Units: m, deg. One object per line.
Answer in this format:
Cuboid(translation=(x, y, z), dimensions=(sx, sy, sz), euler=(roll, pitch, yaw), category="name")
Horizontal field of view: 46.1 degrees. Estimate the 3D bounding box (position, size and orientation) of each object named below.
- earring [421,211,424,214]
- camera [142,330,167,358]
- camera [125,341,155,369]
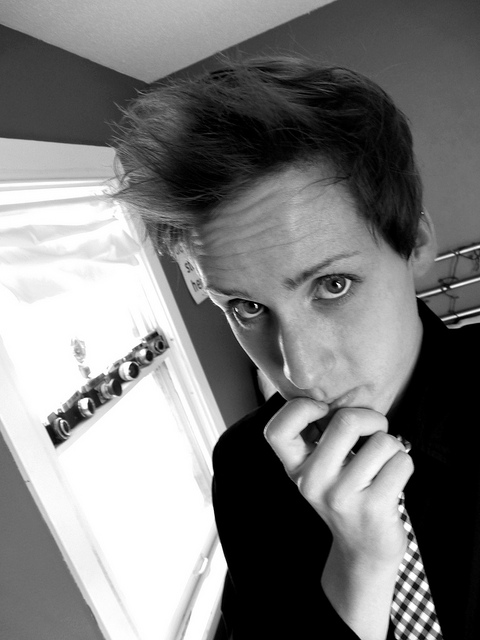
Cuboid(translation=(0.289, -0.170, 0.895), dimensions=(0.005, 0.005, 0.001), euler=(4, -13, -8), category="earring")
Cuboid(translation=(-0.336, 0.090, 2.199), dimensions=(0.076, 0.097, 0.030), euler=(0, -38, -31), category="camera")
Cuboid(translation=(-0.365, 0.126, 2.069), dimensions=(0.081, 0.035, 0.085), euler=(8, 52, 37), category="camera")
